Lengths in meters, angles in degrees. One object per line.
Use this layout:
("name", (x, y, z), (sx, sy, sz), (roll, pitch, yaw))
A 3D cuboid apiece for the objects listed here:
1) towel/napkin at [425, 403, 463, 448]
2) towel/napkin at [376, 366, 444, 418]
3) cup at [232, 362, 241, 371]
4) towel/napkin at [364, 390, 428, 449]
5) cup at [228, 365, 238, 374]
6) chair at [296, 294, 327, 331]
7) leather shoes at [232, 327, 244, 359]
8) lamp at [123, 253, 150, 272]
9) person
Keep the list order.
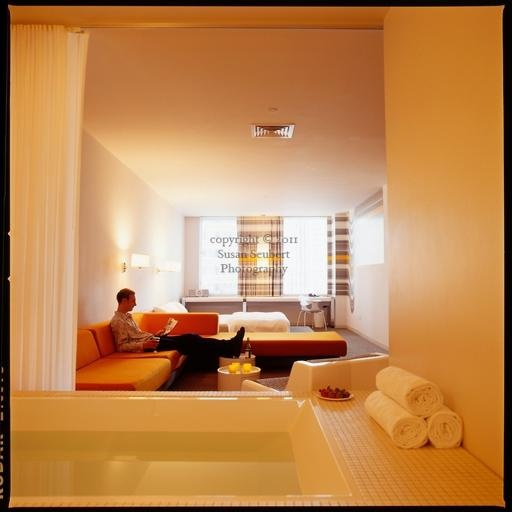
("towel/napkin", (0.571, 0.519, 1.333), (0.087, 0.069, 0.166), (-2, -7, 11))
("towel/napkin", (0.522, 0.444, 1.501), (0.129, 0.112, 0.262), (-17, 3, -3))
("cup", (-0.168, 0.960, 3.853), (0.052, 0.064, 0.096), (-2, -4, 26))
("towel/napkin", (0.503, 0.510, 1.449), (0.117, 0.092, 0.252), (-1, 5, 15))
("cup", (-0.195, 0.974, 3.820), (0.061, 0.060, 0.060), (0, -9, 0))
("chair", (1.252, 1.153, 9.193), (0.659, 0.874, 0.730), (1, -3, -7))
("leather shoes", (-0.182, 0.971, 4.938), (0.105, 0.321, 0.129), (-2, -24, 26))
("lamp", (-1.577, 0.122, 5.664), (0.227, 0.144, 0.230), (-3, -5, 31))
("person", (-0.792, 0.761, 4.907), (1.401, 0.753, 0.688), (1, -11, -6))
